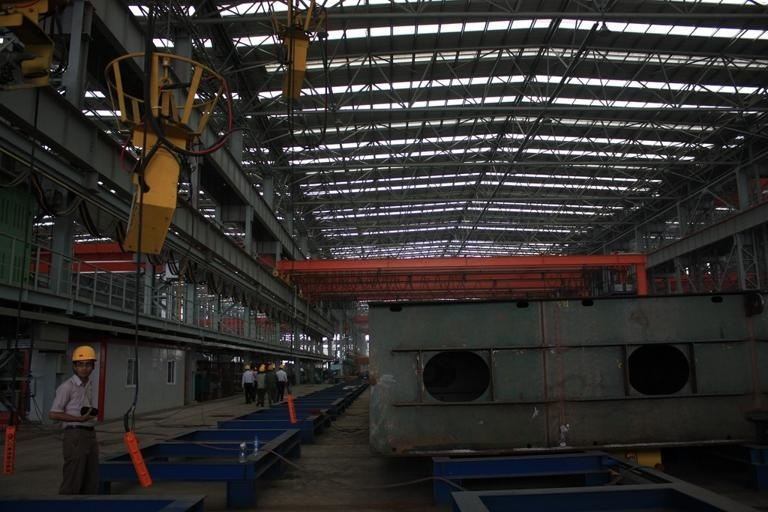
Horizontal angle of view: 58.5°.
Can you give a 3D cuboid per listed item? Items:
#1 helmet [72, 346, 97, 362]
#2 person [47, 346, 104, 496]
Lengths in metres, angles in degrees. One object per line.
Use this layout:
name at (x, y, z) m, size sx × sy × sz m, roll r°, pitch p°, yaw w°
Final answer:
helmet at (-6.560, 2.119, 15.126) m, size 0.430 × 0.315 × 0.484 m, roll -2°, pitch 1°, yaw -3°
person at (-6.661, 3.488, 14.818) m, size 0.934 × 3.218 × 0.838 m, roll 2°, pitch -16°, yaw -23°
